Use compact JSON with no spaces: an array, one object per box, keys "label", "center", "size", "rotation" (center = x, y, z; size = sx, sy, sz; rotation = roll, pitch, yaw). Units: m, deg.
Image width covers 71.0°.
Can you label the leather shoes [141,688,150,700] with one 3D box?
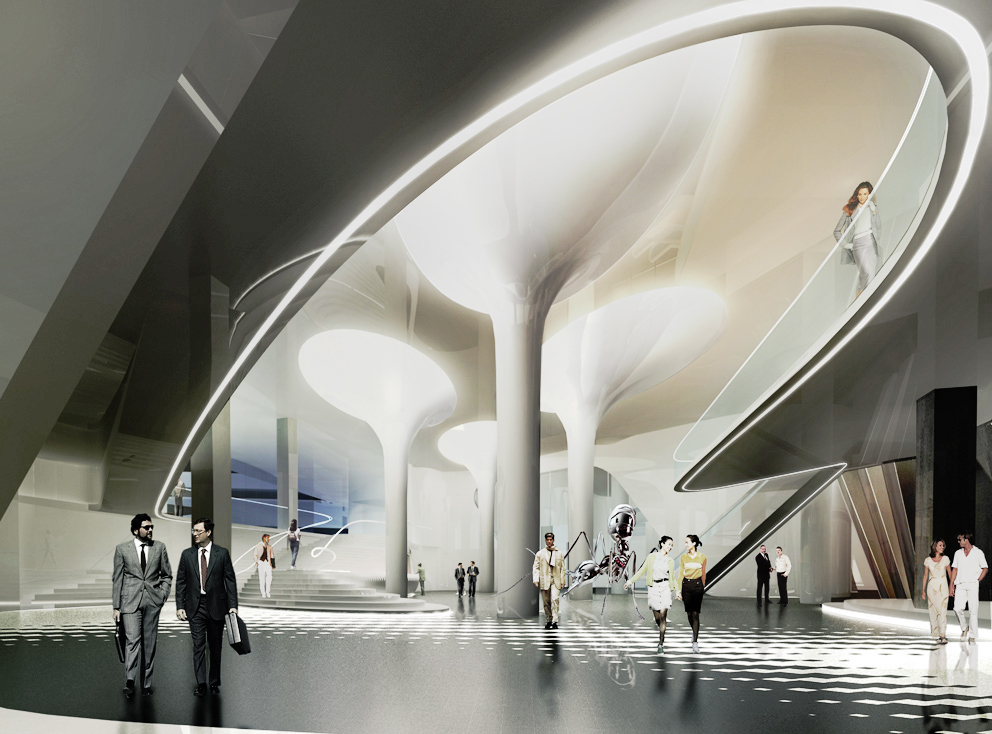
[{"label":"leather shoes","center":[-4.208,3.944,8.372],"size":[0.111,0.126,0.124],"rotation":[1,-16,-8]}]

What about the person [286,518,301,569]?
[{"label":"person","center":[-6.839,5.908,23.417],"size":[0.475,1.660,1.280],"rotation":[6,-19,-16]}]

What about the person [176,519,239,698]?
[{"label":"person","center":[-3.662,2.977,8.710],"size":[0.704,2.056,1.420],"rotation":[8,-19,-23]}]

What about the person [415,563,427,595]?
[{"label":"person","center":[-2.912,8.155,26.812],"size":[0.369,1.273,1.655],"rotation":[3,-19,-6]}]

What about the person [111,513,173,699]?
[{"label":"person","center":[-4.370,2.881,8.469],"size":[0.650,2.043,0.505],"rotation":[11,-20,-30]}]

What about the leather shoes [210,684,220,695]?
[{"label":"leather shoes","center":[-3.395,3.893,8.386],"size":[0.106,0.124,0.116],"rotation":[2,-5,-12]}]

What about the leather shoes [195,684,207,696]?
[{"label":"leather shoes","center":[-3.536,3.879,8.307],"size":[0.092,0.116,0.126],"rotation":[-4,-20,10]}]
